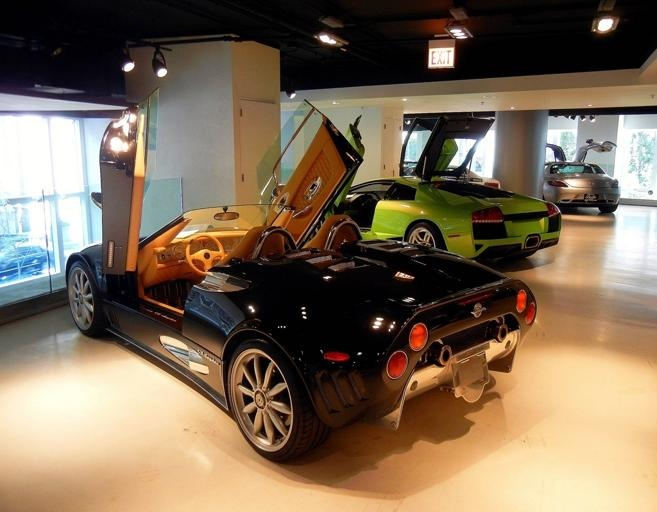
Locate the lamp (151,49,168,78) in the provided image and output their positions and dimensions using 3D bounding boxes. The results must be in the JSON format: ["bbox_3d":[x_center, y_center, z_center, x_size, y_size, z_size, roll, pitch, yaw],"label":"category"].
[{"bbox_3d":[-2.974,-3.432,7.218,0.211,0.574,0.906,-4,14,-17],"label":"lamp"}]

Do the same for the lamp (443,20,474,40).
[{"bbox_3d":[2.093,-3.633,6.563,0.362,0.297,0.844,5,14,20],"label":"lamp"}]

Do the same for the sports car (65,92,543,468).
[{"bbox_3d":[-0.634,-0.147,3.675,2.275,1.946,4.078,-11,15,-44],"label":"sports car"}]

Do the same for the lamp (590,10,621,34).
[{"bbox_3d":[3.928,-3.312,5.794,0.261,0.215,0.315,6,14,24],"label":"lamp"}]

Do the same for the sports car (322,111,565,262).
[{"bbox_3d":[1.271,-0.938,6.303,3.620,1.009,2.037,24,29,38],"label":"sports car"}]
